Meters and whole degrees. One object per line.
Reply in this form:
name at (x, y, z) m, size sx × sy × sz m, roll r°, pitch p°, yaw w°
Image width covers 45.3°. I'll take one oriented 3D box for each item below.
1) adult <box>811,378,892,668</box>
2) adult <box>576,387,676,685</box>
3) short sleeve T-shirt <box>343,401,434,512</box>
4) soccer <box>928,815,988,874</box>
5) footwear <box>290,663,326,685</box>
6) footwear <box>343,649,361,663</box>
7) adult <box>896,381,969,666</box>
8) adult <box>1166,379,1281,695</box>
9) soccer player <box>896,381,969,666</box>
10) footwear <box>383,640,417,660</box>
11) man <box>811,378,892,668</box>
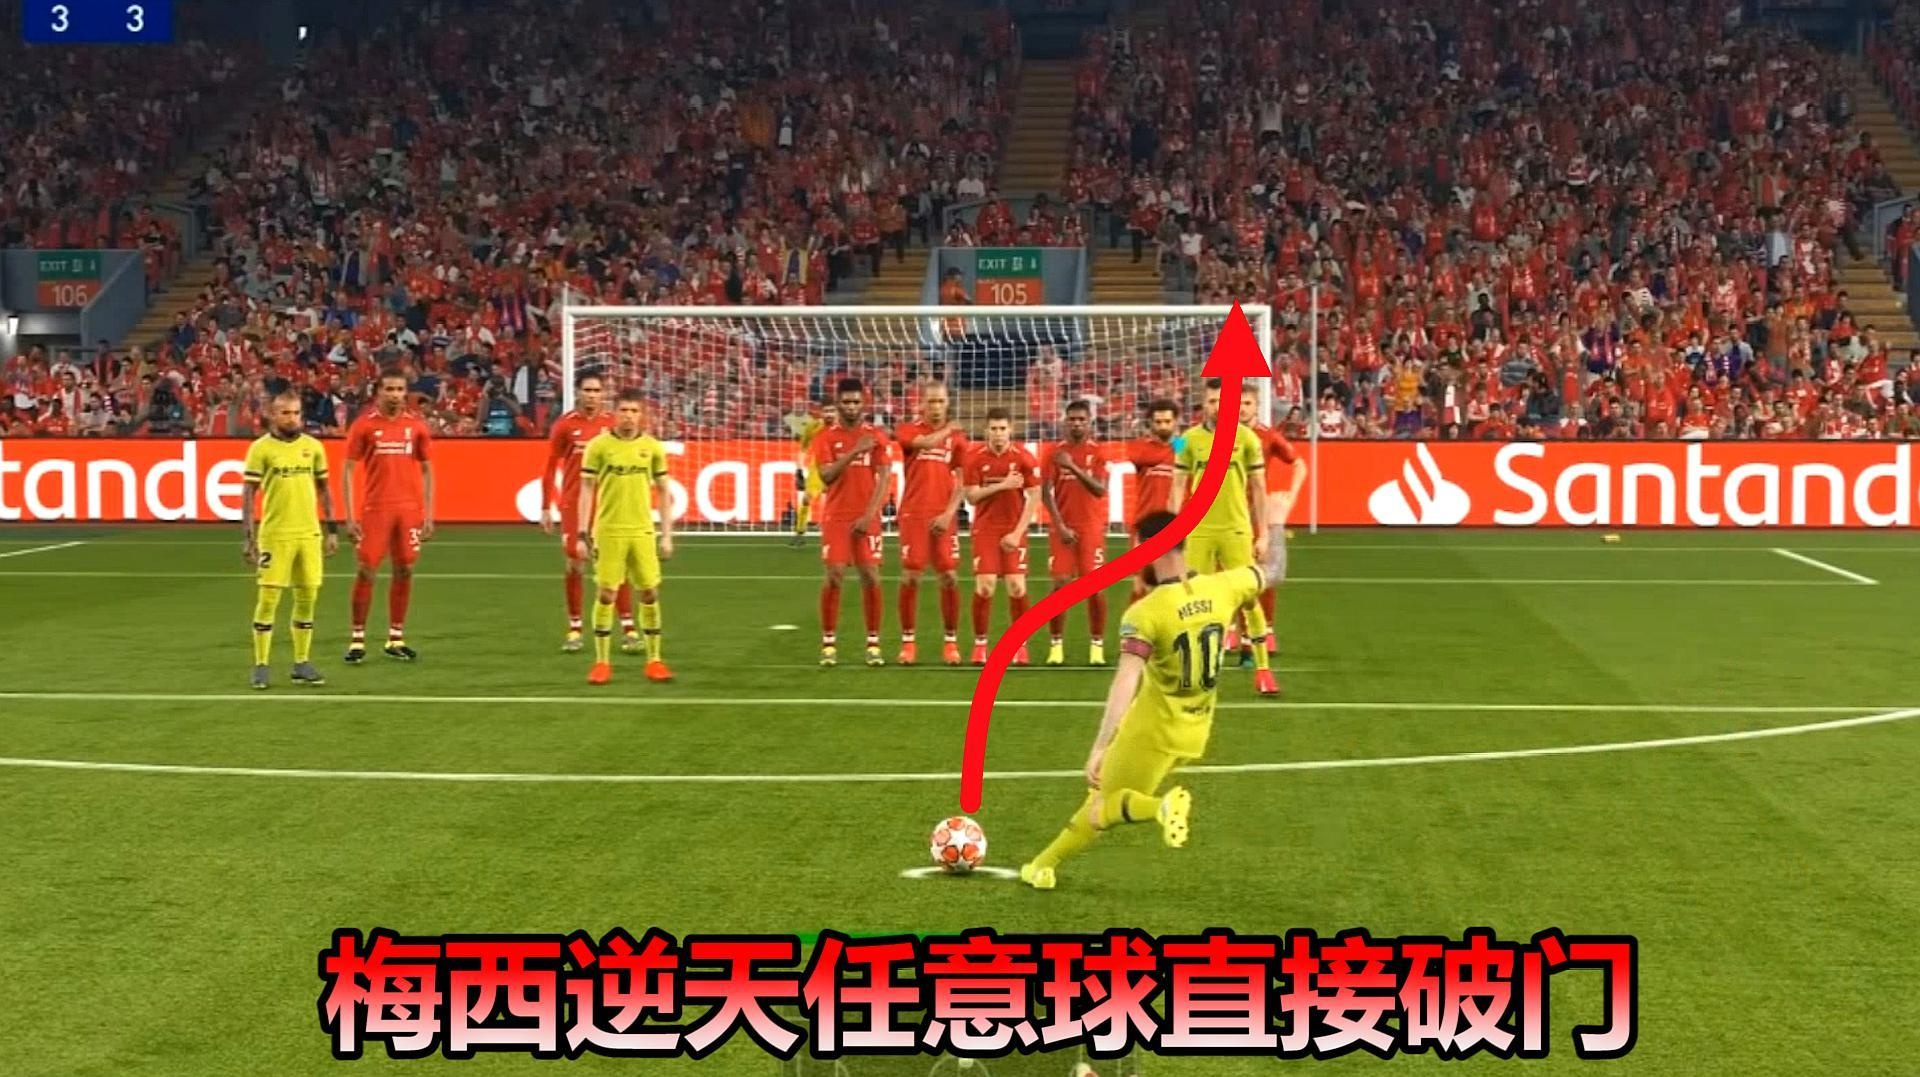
adult at (-1.300, -0.179, 27.659) m, size 0.876 × 3.544 × 0.910 m, roll -1°, pitch 17°, yaw -3°
adult at (-3.980, -0.036, 27.425) m, size 1.066 × 3.458 × 1.858 m, roll -3°, pitch 17°, yaw -8°
short sleeve T-shirt at (-6.945, -0.949, 27.865) m, size 0.972 × 1.153 × 0.600 m, roll -4°, pitch 17°, yaw -13°
soccer at (-0.036, 2.928, 22.011) m, size 0.550 × 0.511 × 0.311 m, roll -8°, pitch -1°, yaw -4°
footwear at (-7.652, 1.582, 26.891) m, size 0.404 × 0.233 × 0.212 m, roll -2°, pitch 4°, yaw -4°
footwear at (-7.357, 1.392, 27.894) m, size 0.211 × 0.136 × 0.192 m, roll -4°, pitch 16°, yaw 4°
adult at (-0.318, -0.209, 27.876) m, size 0.835 × 3.412 × 0.902 m, roll -1°, pitch 17°, yaw 0°
adult at (3.087, -0.090, 26.737) m, size 1.333 × 3.918 × 1.082 m, roll 4°, pitch 20°, yaw 17°
soccer player at (-0.319, -0.209, 27.875) m, size 0.835 × 3.412 × 0.904 m, roll 0°, pitch 17°, yaw 0°
footwear at (-6.891, 1.373, 28.210) m, size 0.259 × 0.110 × 0.343 m, roll 6°, pitch 6°, yaw -20°
man at (-1.300, -0.179, 27.659) m, size 0.876 × 3.544 × 0.910 m, roll -1°, pitch 17°, yaw -3°
